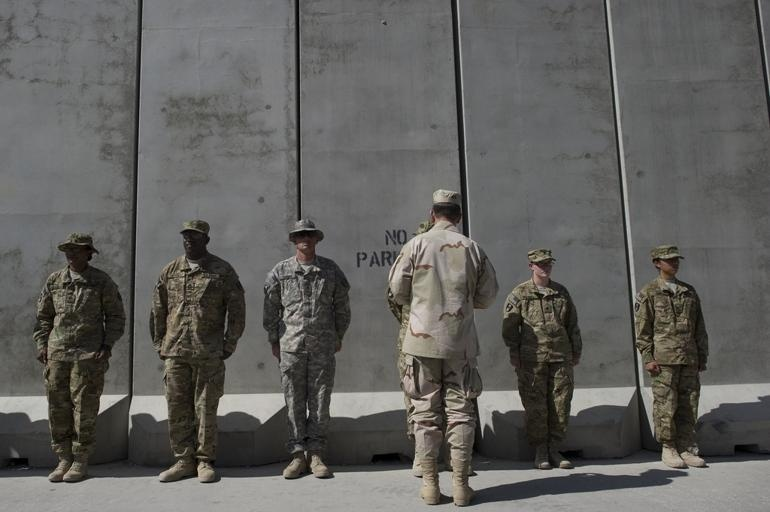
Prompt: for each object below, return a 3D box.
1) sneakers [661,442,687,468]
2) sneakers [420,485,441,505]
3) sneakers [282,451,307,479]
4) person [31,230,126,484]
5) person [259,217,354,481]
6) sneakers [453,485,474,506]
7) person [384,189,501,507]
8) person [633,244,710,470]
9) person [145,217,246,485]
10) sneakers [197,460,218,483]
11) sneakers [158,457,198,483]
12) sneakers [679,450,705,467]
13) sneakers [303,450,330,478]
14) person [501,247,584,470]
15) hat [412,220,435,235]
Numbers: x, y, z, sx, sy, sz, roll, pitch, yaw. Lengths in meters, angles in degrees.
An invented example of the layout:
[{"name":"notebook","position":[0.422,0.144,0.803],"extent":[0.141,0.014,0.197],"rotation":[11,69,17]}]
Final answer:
[{"name":"sneakers","position":[2.909,2.014,14.264],"extent":[0.132,0.186,0.308],"rotation":[-6,-19,-2]},{"name":"sneakers","position":[0.440,2.255,13.542],"extent":[0.194,0.191,0.144],"rotation":[-3,-4,2]},{"name":"sneakers","position":[-0.895,2.055,14.077],"extent":[0.248,0.257,0.127],"rotation":[-2,-4,-12]},{"name":"person","position":[-3.071,0.994,14.206],"extent":[0.876,2.447,0.297],"rotation":[-2,-4,-11]},{"name":"person","position":[-0.772,0.911,14.200],"extent":[0.870,2.558,0.250],"rotation":[-3,-4,-4]},{"name":"sneakers","position":[0.767,2.254,13.514],"extent":[0.238,0.199,0.125],"rotation":[-1,-4,-19]},{"name":"person","position":[0.568,0.857,13.628],"extent":[0.988,3.012,0.268],"rotation":[-3,-4,1]},{"name":"person","position":[2.927,1.000,14.388],"extent":[0.699,2.223,0.253],"rotation":[-4,-4,9]},{"name":"person","position":[-1.868,0.933,14.163],"extent":[0.934,2.573,0.316],"rotation":[-2,-4,-10]},{"name":"sneakers","position":[-1.771,2.115,14.084],"extent":[0.216,0.208,0.268],"rotation":[-2,-4,-8]},{"name":"sneakers","position":[-2.038,2.106,14.020],"extent":[0.483,0.193,0.159],"rotation":[0,5,-30]},{"name":"sneakers","position":[3.111,2.018,14.259],"extent":[0.254,0.162,0.112],"rotation":[-3,-4,11]},{"name":"sneakers","position":[-0.664,2.056,14.098],"extent":[0.248,0.258,0.180],"rotation":[-3,-4,-3]},{"name":"person","position":[1.600,1.022,14.353],"extent":[0.780,2.195,0.208],"rotation":[-3,-4,6]},{"name":"hat","position":[0.400,-0.304,14.646],"extent":[0.143,0.069,0.169],"rotation":[-23,-1,-10]}]
